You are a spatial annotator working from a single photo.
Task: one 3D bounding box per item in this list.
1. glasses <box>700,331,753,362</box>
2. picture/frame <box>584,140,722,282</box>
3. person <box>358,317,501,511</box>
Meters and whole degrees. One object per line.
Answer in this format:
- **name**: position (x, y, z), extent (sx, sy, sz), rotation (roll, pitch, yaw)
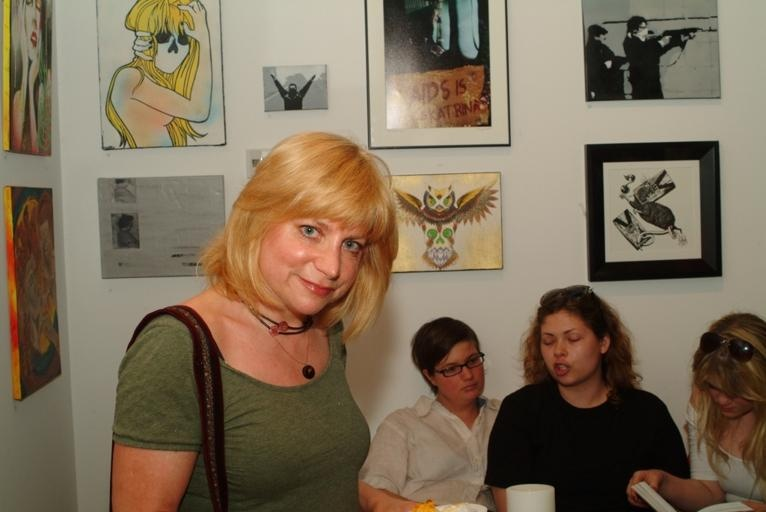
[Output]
- **glasses**: position (1.520, 0.398, 3.061), extent (0.215, 0.116, 0.050), rotation (0, 4, 31)
- **picture/frame**: position (1.327, -0.234, 3.466), extent (0.667, 0.696, 0.046), rotation (-1, 0, -3)
- **person**: position (0.206, 0.750, 3.229), extent (0.732, 0.704, 0.389), rotation (13, -23, -16)
